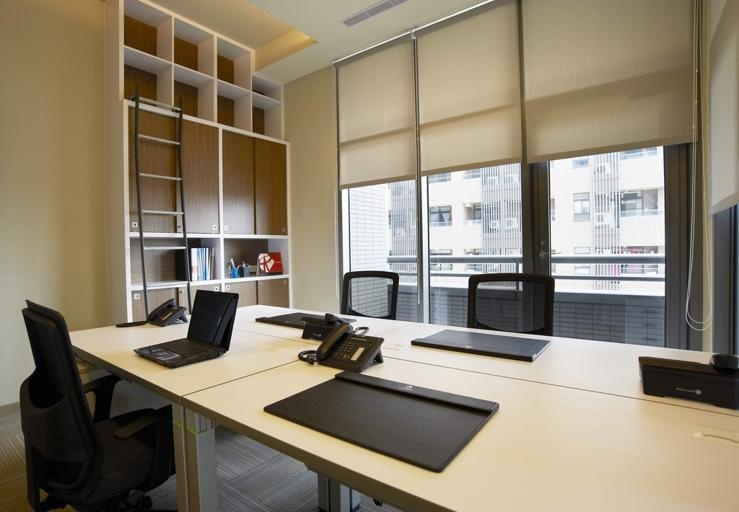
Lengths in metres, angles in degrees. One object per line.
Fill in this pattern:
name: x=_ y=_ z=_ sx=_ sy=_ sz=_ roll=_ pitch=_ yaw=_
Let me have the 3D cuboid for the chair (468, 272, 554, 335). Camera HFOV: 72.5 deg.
chair: x=1.061 y=0.307 z=3.792 sx=0.456 sy=0.803 sz=0.507 roll=0 pitch=-2 yaw=34

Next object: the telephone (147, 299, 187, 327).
telephone: x=-1.534 y=0.451 z=3.863 sx=0.266 sy=0.132 sz=0.206 roll=-2 pitch=-2 yaw=43

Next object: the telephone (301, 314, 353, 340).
telephone: x=-0.323 y=0.482 z=3.395 sx=0.189 sy=0.109 sz=0.258 roll=-2 pitch=4 yaw=33

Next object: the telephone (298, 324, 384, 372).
telephone: x=-0.156 y=0.549 z=3.151 sx=0.589 sy=0.206 sz=0.446 roll=2 pitch=11 yaw=40
